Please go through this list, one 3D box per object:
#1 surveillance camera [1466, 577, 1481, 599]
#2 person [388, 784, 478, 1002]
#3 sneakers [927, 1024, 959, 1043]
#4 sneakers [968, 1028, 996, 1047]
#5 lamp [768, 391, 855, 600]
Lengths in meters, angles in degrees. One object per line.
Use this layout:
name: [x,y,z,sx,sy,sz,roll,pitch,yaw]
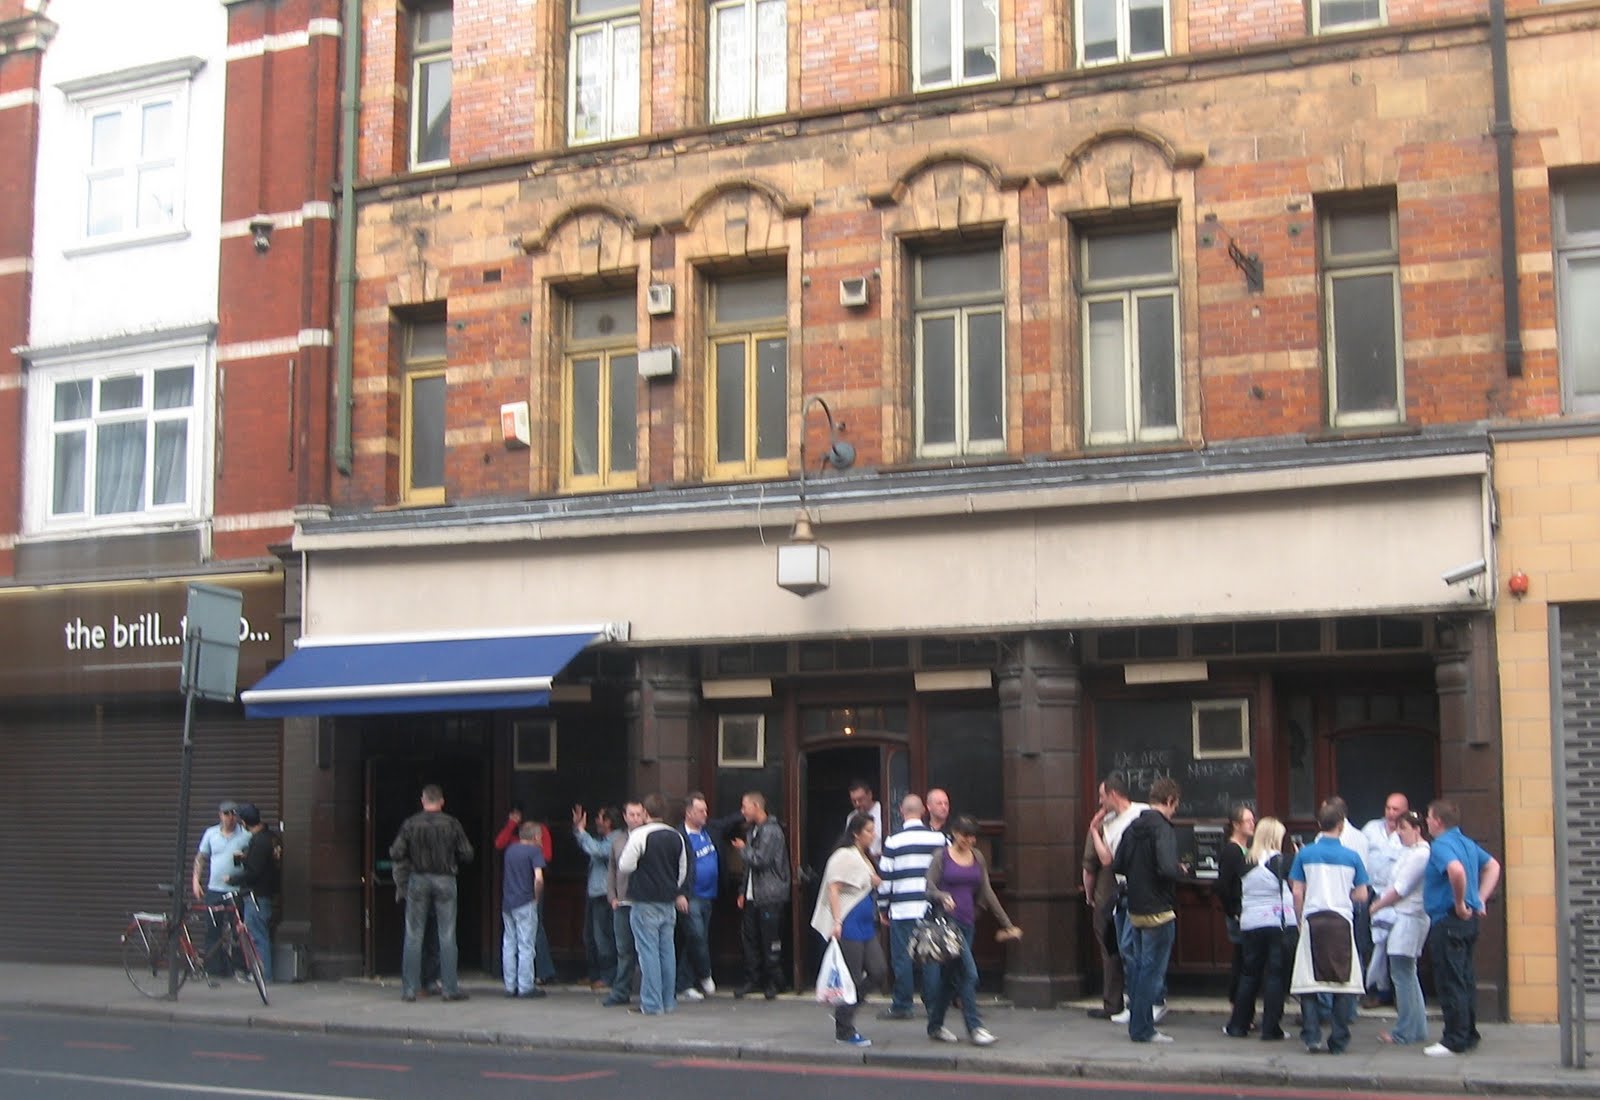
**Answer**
surveillance camera: [8.069,0.513,30.836,0.185,0.230,0.160,-2,4,2]
person: [-4.799,4.604,33.499,0.908,2.717,0.873,1,-24,-11]
sneakers: [1.670,5.651,29.869,0.285,0.138,0.155,-6,-5,30]
sneakers: [2.116,5.612,29.618,0.272,0.203,0.384,-4,-11,3]
lamp: [0.177,-0.711,33.141,0.727,2.635,1.139,-8,-10,31]
